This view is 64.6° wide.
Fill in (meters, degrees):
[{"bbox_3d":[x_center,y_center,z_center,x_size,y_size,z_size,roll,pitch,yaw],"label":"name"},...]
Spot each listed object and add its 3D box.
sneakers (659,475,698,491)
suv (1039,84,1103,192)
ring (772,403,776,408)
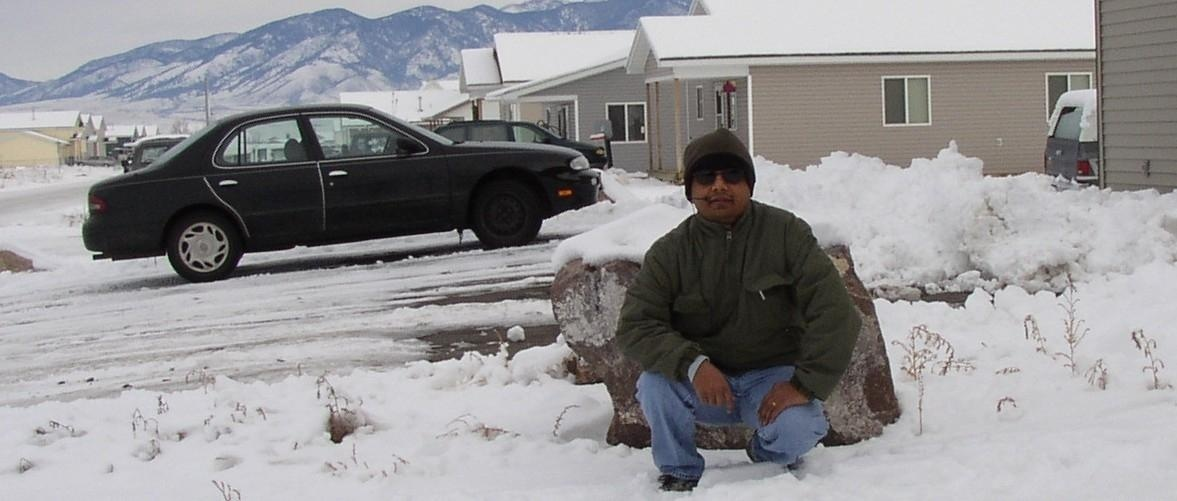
[{"bbox_3d":[1.432,3.699,14.895,0.456,0.127,0.281,0,-5,12],"label":"sneakers"},{"bbox_3d":[13.216,-3.120,25.430,0.970,2.314,2.396,0,12,20],"label":"suv"},{"bbox_3d":[2.959,2.444,14.782,0.074,0.073,0.016,-3,12,5],"label":"ring"}]
